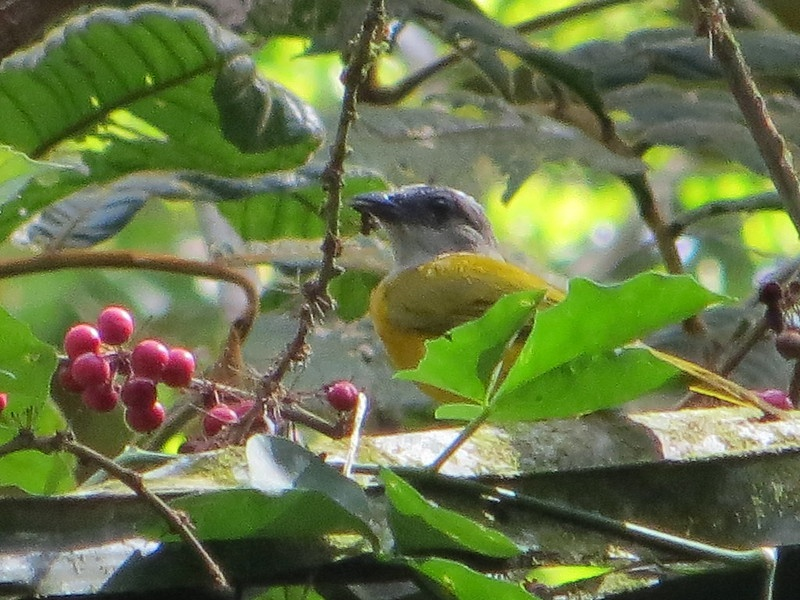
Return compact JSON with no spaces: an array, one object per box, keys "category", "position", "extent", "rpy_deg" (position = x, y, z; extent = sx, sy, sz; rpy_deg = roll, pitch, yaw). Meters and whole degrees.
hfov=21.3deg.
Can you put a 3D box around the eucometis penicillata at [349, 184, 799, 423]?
[{"category":"eucometis penicillata","position":[0.137,0.009,1.947],"extent":[0.423,0.212,0.160],"rpy_deg":[4,-4,31]}]

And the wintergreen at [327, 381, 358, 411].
[{"category":"wintergreen","position":[-0.049,0.086,1.872],"extent":[0.031,0.025,0.023],"rpy_deg":[19,-2,-5]}]
